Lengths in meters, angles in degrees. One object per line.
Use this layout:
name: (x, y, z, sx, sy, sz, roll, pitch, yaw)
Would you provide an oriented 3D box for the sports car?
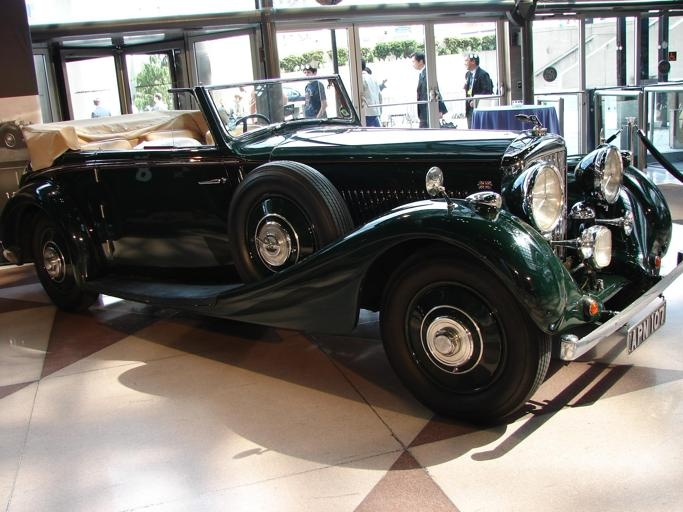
sports car: (-0.511, -0.158, 3.542, 4.627, 1.633, 2.280, 5, 16, 31)
